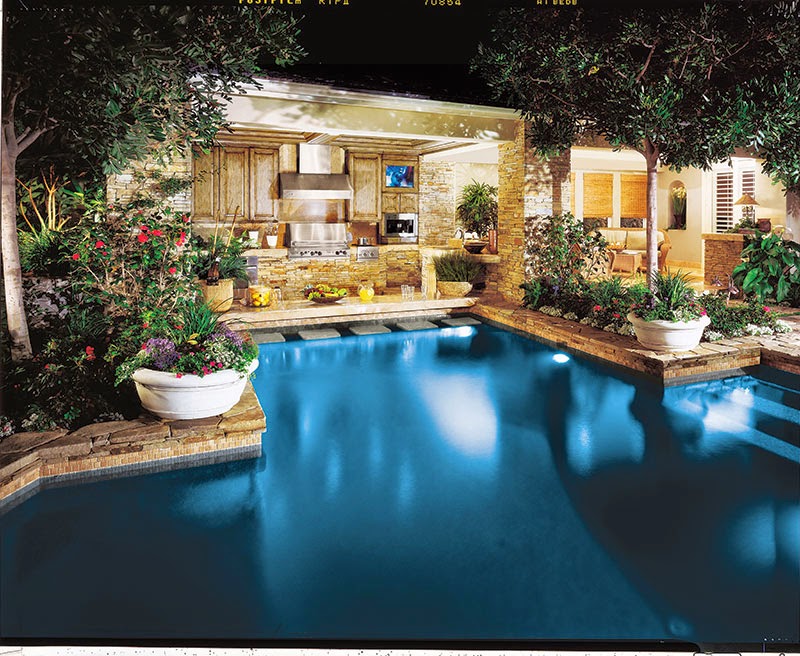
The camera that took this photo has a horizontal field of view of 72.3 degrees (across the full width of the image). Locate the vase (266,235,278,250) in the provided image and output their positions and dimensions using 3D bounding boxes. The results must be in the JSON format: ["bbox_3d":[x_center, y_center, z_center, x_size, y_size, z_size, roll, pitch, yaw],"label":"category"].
[{"bbox_3d":[-2.673,-1.791,11.331,0.318,0.325,0.309,-2,5,-3],"label":"vase"}]

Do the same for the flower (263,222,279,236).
[{"bbox_3d":[-2.783,-2.118,11.655,0.328,0.275,0.193,-5,12,-21],"label":"flower"}]

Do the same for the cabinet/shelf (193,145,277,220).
[{"bbox_3d":[-3.754,-3.107,12.255,2.451,2.033,1.087,2,11,-19],"label":"cabinet/shelf"}]

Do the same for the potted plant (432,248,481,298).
[{"bbox_3d":[1.147,-1.138,11.295,0.977,0.834,0.893,-1,3,-15],"label":"potted plant"}]

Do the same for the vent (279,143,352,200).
[{"bbox_3d":[-1.843,-3.355,11.702,1.527,1.169,0.521,-7,13,-27],"label":"vent"}]

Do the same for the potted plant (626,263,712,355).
[{"bbox_3d":[3.383,-0.218,6.874,0.877,0.972,0.605,1,12,8],"label":"potted plant"}]

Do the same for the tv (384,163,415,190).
[{"bbox_3d":[-0.060,-3.538,12.697,0.711,0.474,0.068,-2,5,-23],"label":"tv"}]
